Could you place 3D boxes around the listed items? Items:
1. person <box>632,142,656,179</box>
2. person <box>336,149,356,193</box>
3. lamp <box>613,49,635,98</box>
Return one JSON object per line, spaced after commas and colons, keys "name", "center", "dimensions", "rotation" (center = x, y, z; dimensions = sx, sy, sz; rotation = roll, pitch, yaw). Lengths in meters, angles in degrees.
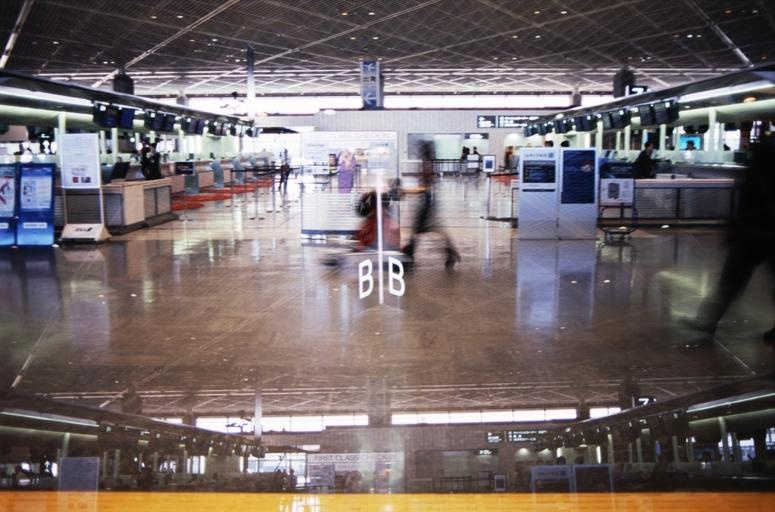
{"name": "person", "center": [6.153, -2.276, 17.166], "dimensions": [0.497, 0.899, 1.133], "rotation": [3, 7, 18]}
{"name": "person", "center": [-0.656, -1.362, 11.551], "dimensions": [0.290, 0.660, 0.097], "rotation": [1, 9, 5]}
{"name": "lamp", "center": [9.019, -6.537, 27.406], "dimensions": [0.682, 1.388, 3.159], "rotation": [3, 6, 17]}
